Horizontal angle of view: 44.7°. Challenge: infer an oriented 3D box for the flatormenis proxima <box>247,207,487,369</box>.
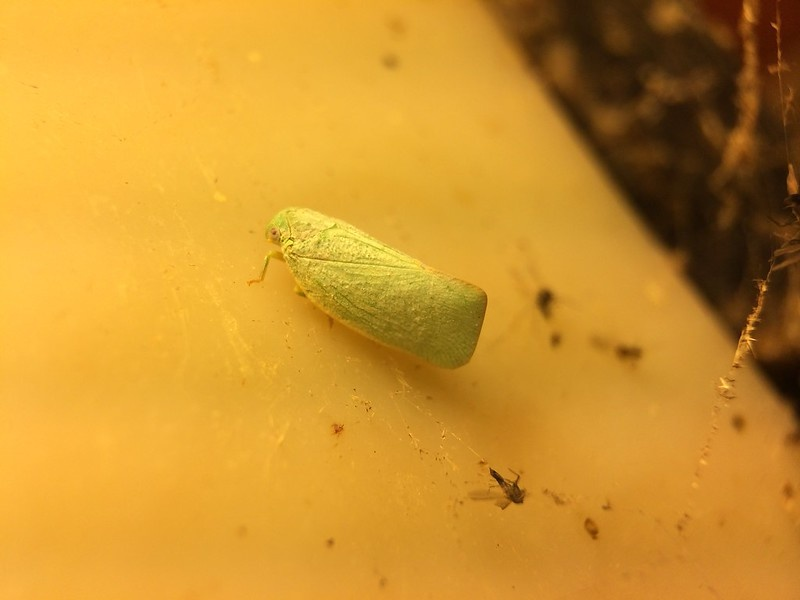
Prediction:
[{"bbox_3d":[-0.131,-0.045,3.947,1.078,0.369,0.570,21,14,21],"label":"flatormenis proxima"}]
